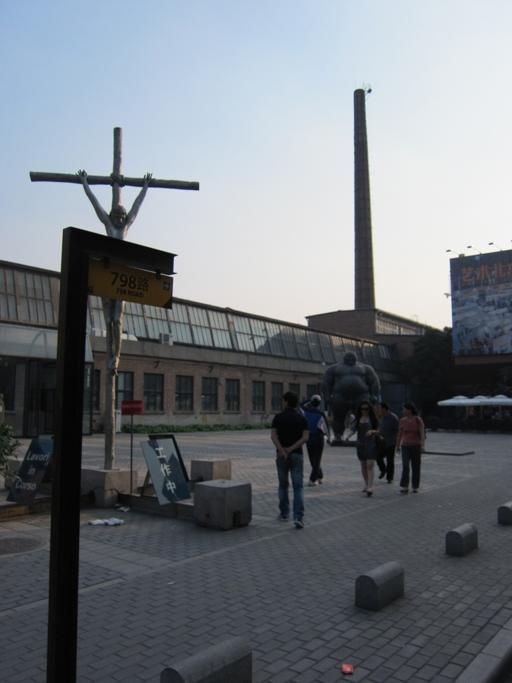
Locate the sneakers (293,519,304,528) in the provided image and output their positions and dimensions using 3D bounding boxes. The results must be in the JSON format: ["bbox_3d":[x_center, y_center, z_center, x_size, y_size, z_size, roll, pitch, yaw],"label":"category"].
[{"bbox_3d":[0.553,2.388,7.977,0.124,0.104,0.212,1,-6,5],"label":"sneakers"}]

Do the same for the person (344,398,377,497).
[{"bbox_3d":[1.928,1.899,10.735,0.399,1.633,0.544,1,-5,4],"label":"person"}]

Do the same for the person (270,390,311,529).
[{"bbox_3d":[0.462,1.612,8.505,0.488,1.768,1.104,1,-5,4],"label":"person"}]
